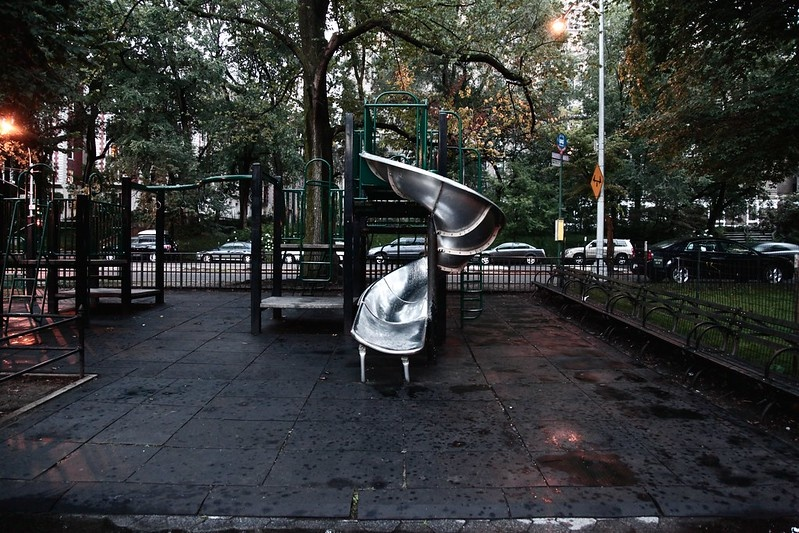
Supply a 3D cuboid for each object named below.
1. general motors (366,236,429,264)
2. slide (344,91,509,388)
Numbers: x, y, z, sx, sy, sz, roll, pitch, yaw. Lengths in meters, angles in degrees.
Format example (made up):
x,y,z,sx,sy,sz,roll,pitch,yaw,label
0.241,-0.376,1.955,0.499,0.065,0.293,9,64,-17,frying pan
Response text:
x,y,z,sx,sy,sz,roll,pitch,yaw,label
-0.021,-0.842,34.169,2.982,1.162,1.342,0,-1,4,general motors
0.462,-0.732,13.416,3.238,4.798,3.486,-3,0,-24,slide
